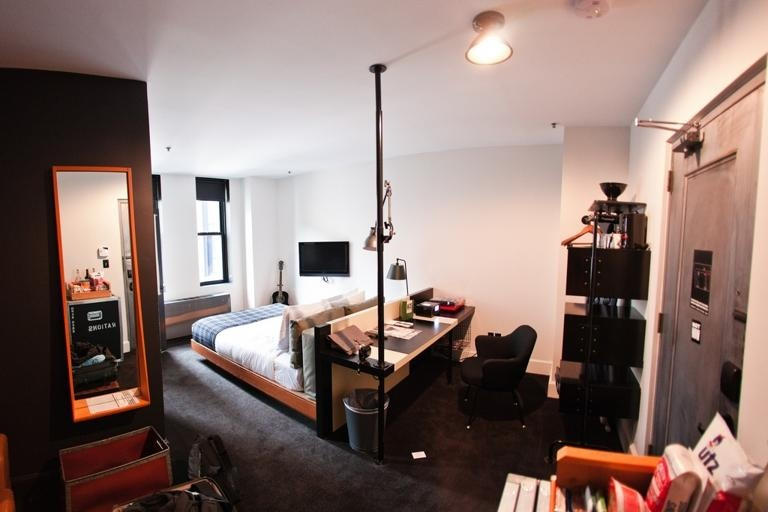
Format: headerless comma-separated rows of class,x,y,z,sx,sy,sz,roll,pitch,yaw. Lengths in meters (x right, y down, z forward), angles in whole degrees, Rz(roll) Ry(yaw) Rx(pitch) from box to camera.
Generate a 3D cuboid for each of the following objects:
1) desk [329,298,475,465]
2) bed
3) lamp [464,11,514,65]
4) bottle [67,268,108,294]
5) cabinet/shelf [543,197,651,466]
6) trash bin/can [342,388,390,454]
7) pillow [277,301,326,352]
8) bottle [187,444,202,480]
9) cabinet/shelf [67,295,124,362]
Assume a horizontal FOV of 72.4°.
desk,0.139,1.103,5.208,0.813,1.162,1.647,2,5,33
bed,-0.650,0.891,5.173,1.683,0.564,1.250,7,8,42
lamp,0.717,-1.470,3.613,0.292,0.231,0.291,-2,4,-24
bottle,-2.273,0.186,4.033,0.291,0.182,0.032,-2,4,-21
cabinet/shelf,1.883,0.585,4.541,0.737,2.235,0.807,1,4,25
trash bin/can,-0.181,1.461,4.723,0.452,0.451,0.478,0,-5,-5
pillow,-0.879,0.680,5.298,0.151,0.500,0.439,2,0,30
bottle,-1.552,1.681,4.305,0.141,0.255,0.062,8,-14,-18
cabinet/shelf,-2.337,0.569,4.218,0.439,0.510,0.432,-3,10,-21
